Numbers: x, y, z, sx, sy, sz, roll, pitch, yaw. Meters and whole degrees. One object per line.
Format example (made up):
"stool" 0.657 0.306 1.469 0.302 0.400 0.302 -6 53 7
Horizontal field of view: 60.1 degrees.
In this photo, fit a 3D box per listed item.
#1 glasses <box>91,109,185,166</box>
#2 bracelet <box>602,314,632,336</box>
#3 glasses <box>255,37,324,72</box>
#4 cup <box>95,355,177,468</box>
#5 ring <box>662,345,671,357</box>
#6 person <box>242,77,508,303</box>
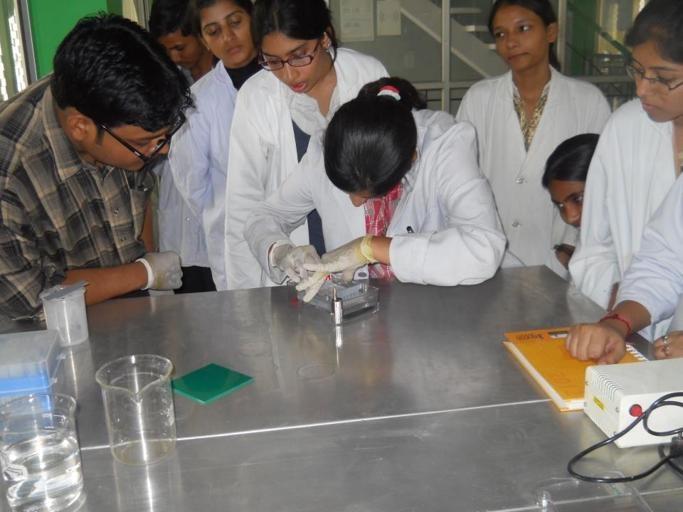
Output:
"glasses" -0.638 -0.382 1.888 0.165 0.046 0.177 42 35 -2
"bracelet" 0.758 0.205 1.628 0.062 0.019 0.068 23 31 5
"glasses" -0.193 -0.776 2.294 0.218 0.100 0.105 -3 17 5
"cup" -0.438 0.327 1.360 0.183 0.227 0.217 -2 12 -9
"ring" 0.831 0.243 1.499 0.015 0.008 0.021 -2 39 23
"person" 0.064 -0.220 2.120 0.541 0.593 0.987 17 -7 31
